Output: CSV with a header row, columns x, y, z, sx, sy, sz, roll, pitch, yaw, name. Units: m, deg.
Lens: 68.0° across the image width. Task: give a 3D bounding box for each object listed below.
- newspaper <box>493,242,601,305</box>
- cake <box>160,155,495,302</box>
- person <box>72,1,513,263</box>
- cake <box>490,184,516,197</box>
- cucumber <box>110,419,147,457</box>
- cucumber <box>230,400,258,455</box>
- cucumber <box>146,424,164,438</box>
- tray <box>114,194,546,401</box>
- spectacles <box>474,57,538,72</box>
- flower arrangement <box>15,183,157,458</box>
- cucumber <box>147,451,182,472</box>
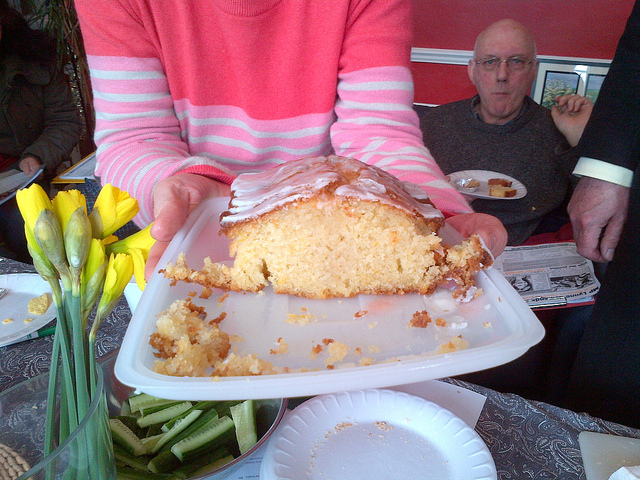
x,y,z,sx,sy,sz,roll,pitch,yaw,name
0.973,0.123,2.057,0.407,0.051,0.377,-9,28,8,newspaper
0.026,-0.126,1.259,0.670,0.354,0.543,-4,21,-5,cake
-0.187,-0.440,1.555,0.970,0.662,1.051,-6,28,-13,person
1.001,-0.291,2.626,0.091,0.032,0.093,-1,18,-2,cake
-0.423,0.420,1.035,0.034,0.023,0.106,-21,30,-39,cucumber
-0.162,0.398,1.029,0.071,0.032,0.114,-10,65,-2,cucumber
-0.362,0.418,1.045,0.025,0.006,0.021,-1,49,-24,cucumber
-0.048,0.004,1.159,0.848,0.355,0.620,-7,21,-12,tray
1.176,-1.133,3.041,0.321,0.094,0.096,10,48,14,spectacles
-0.398,0.142,0.851,0.208,0.219,0.421,-8,73,11,flower arrangement
-0.314,0.455,0.979,0.064,0.025,0.032,-8,45,-35,cucumber
